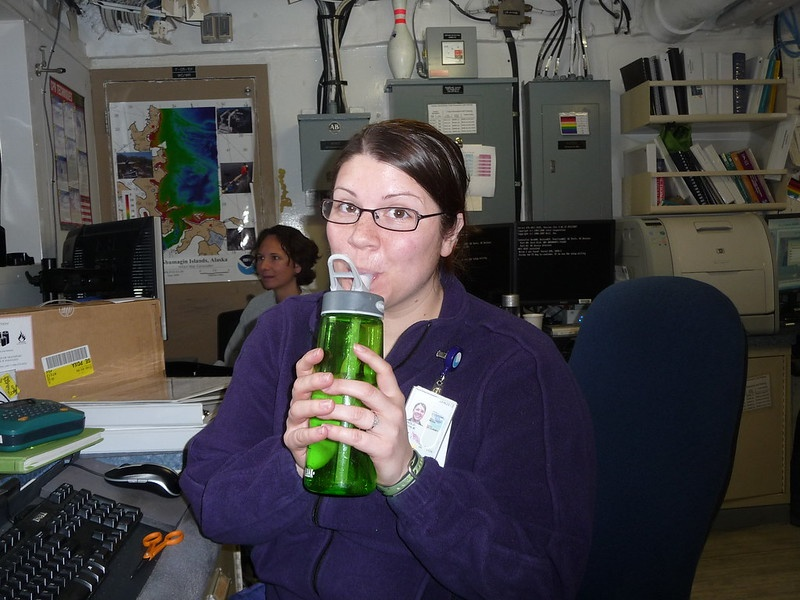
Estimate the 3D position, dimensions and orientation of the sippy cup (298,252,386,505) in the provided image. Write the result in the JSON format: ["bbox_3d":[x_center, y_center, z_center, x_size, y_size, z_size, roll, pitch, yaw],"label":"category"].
[{"bbox_3d":[-0.119,0.144,1.138,0.145,0.421,0.153,5,7,-1],"label":"sippy cup"}]

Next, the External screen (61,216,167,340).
[{"bbox_3d":[-1.031,-0.079,2.414,0.265,0.490,0.563,3,7,-8],"label":"External screen"}]
